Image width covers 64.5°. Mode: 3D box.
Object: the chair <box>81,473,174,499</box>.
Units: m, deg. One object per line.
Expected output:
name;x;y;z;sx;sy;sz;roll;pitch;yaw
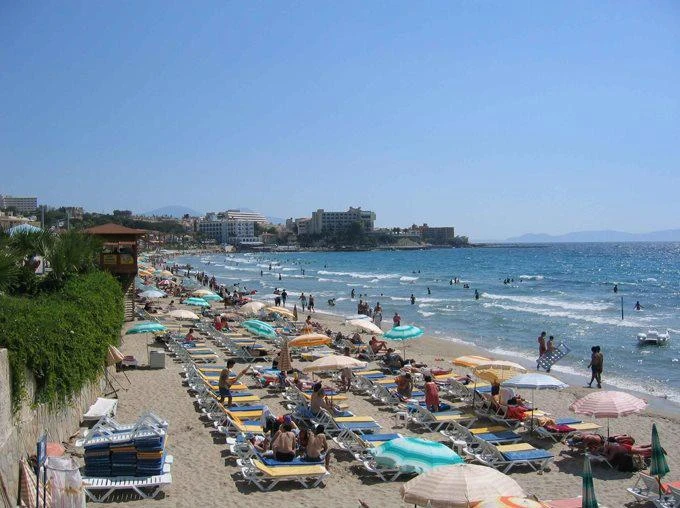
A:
chair;-3.931;4.332;10.064;1.522;0.358;0.536;1;1;-16

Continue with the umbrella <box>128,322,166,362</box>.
umbrella;-6.973;3.348;19.630;1.750;0.949;1.685;1;-1;-11

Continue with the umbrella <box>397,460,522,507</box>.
umbrella;1.790;3.572;8.329;1.109;0.320;1.070;-1;-12;20
